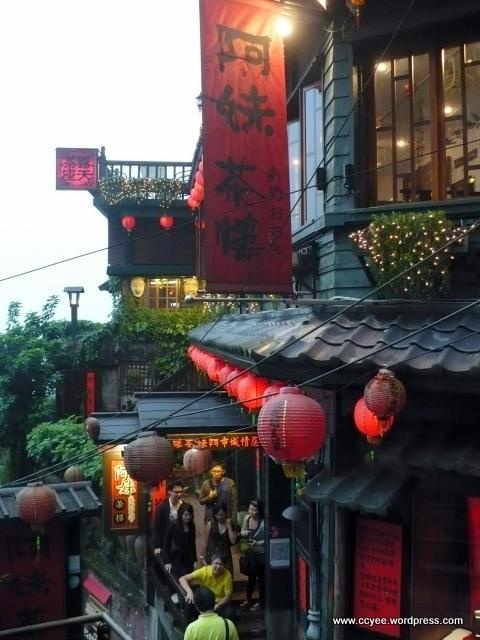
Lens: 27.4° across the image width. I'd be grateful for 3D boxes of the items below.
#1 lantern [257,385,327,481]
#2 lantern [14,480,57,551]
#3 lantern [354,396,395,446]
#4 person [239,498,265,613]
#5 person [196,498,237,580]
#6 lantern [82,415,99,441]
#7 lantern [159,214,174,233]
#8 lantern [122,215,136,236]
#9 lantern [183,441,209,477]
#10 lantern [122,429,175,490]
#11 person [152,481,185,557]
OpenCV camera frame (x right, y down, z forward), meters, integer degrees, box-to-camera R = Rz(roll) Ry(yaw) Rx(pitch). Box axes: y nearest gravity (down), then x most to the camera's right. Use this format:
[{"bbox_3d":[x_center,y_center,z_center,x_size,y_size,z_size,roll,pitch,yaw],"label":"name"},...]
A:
[{"bbox_3d":[0.561,1.158,10.288,0.656,0.962,0.613,-2,2,-22],"label":"lantern"},{"bbox_3d":[-2.815,2.837,13.646,0.490,1.213,0.529,2,7,24],"label":"lantern"},{"bbox_3d":[1.437,0.971,10.680,0.469,0.753,0.527,-2,14,12],"label":"lantern"},{"bbox_3d":[0.197,3.718,15.618,0.404,1.660,0.467,-3,-3,-1],"label":"person"},{"bbox_3d":[-0.299,3.164,14.325,0.429,1.080,0.442,-4,5,-44],"label":"person"},{"bbox_3d":[-2.492,1.849,16.630,0.227,0.366,0.873,-2,-3,-9],"label":"lantern"},{"bbox_3d":[-2.382,-3.190,31.804,0.391,0.441,0.651,-3,-2,4],"label":"lantern"},{"bbox_3d":[-3.556,-3.061,31.898,0.429,0.673,0.433,13,-23,-32],"label":"lantern"},{"bbox_3d":[-0.701,2.190,15.457,0.404,0.534,0.411,5,-23,-8],"label":"lantern"},{"bbox_3d":[-1.241,1.863,12.990,0.574,0.762,0.642,-9,-11,29],"label":"lantern"},{"bbox_3d":[-1.113,3.085,15.333,0.473,1.285,0.440,1,2,-16],"label":"person"}]
